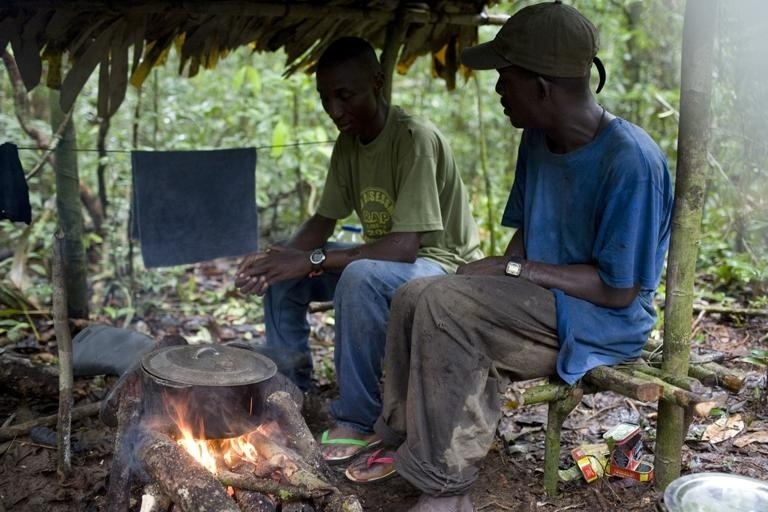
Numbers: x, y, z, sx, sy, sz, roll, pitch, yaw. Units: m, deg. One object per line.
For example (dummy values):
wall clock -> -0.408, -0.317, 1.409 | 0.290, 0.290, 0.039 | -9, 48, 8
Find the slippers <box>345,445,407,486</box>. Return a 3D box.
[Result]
slippers -> -0.053, 1.408, 5.543 | 0.386, 0.120, 0.210 | -15, 39, -13

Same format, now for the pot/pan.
pot/pan -> -1.113, 0.880, 5.248 | 0.848, 0.530, 0.433 | -3, 10, -8

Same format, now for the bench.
bench -> 1.532, 0.830, 5.188 | 1.062, 0.622, 0.991 | -7, 10, -38

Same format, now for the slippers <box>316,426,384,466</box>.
slippers -> -0.247, 1.277, 5.770 | 0.440, 0.227, 0.354 | -6, 14, -22

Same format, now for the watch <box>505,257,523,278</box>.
watch -> 0.835, 0.073, 5.348 | 0.085, 0.114, 0.118 | 20, -4, 0
